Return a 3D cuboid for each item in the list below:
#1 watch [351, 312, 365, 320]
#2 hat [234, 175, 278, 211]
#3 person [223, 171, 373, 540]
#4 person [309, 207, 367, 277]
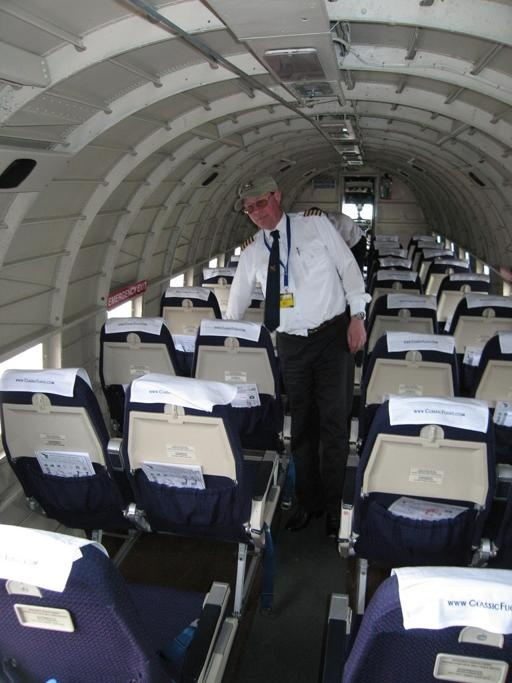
[{"bbox_3d":[0.773,-0.187,3.863,0.081,0.053,0.078,6,-16,-18],"label":"watch"},{"bbox_3d":[-0.004,-1.089,3.753,0.312,0.227,0.311,-3,14,1],"label":"hat"},{"bbox_3d":[0.380,0.200,4.168,1.036,2.929,0.705,-1,14,12],"label":"person"},{"bbox_3d":[1.643,-1.965,10.181,1.110,1.057,0.427,16,24,38],"label":"person"}]
